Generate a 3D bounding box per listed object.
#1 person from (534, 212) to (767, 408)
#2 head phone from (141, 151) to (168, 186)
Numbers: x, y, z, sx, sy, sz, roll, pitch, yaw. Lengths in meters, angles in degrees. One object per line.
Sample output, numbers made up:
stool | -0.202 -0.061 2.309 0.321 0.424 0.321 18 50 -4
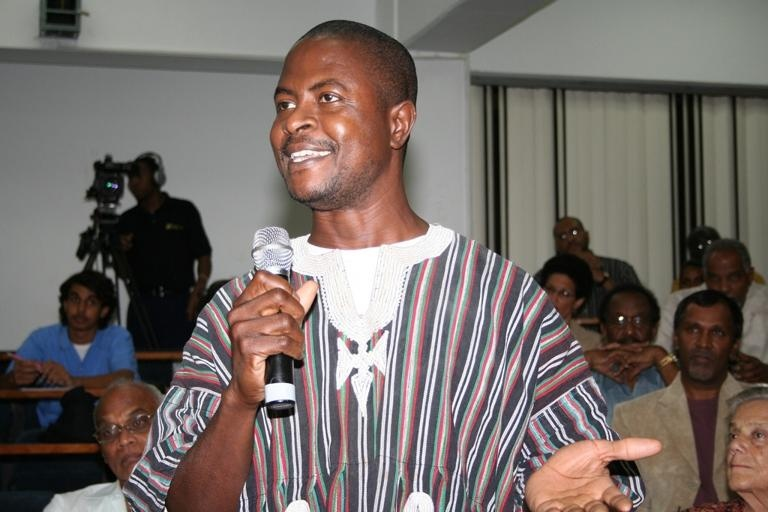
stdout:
person | 1.753 0.282 5.418 1.108 1.612 0.545 -4 -15 -1
head phone | -2.174 -0.836 6.403 0.261 0.319 0.109 -4 10 18
